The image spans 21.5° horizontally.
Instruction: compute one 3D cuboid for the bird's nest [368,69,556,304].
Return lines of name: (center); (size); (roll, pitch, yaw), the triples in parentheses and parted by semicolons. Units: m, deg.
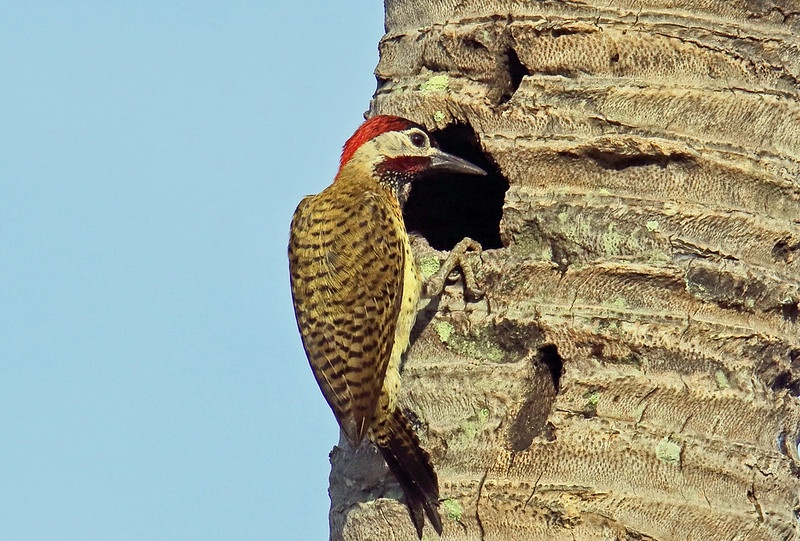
bird's nest: (0.267, -0.671, 13.678); (0.549, 1.516, 1.261); (-29, -80, 34)
